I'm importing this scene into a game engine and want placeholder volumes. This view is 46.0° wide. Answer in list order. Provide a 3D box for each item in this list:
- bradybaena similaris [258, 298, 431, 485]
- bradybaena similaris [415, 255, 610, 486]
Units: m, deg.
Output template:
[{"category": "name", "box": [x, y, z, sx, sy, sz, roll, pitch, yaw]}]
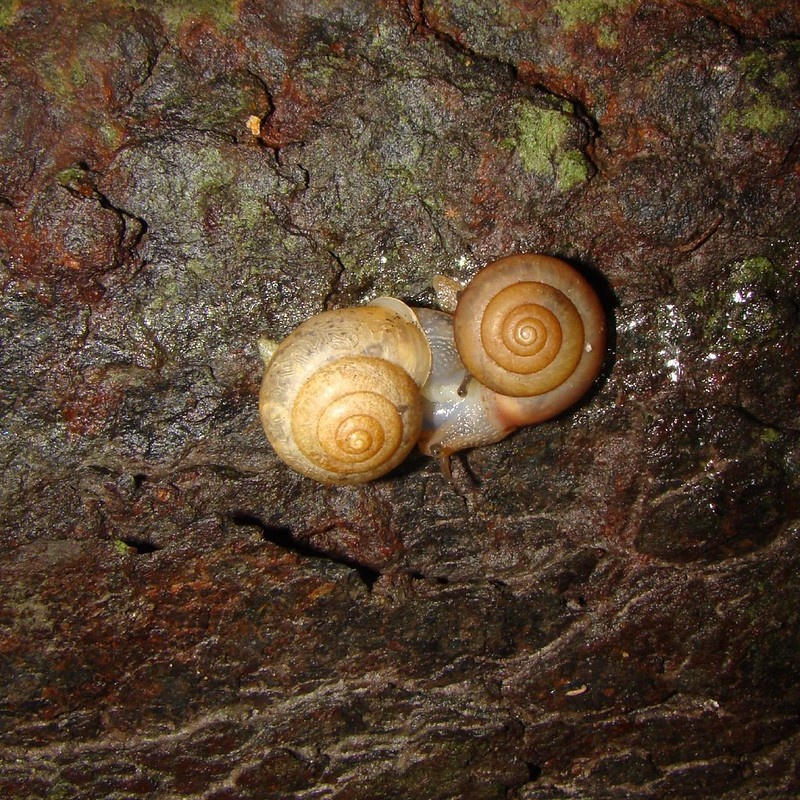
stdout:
[{"category": "bradybaena similaris", "box": [-0.078, 0.011, 3.488, 0.928, 0.366, 0.707, 6, -82, 4]}, {"category": "bradybaena similaris", "box": [0.335, -0.140, 3.525, 0.764, 0.274, 0.698, -34, -78, 17]}]
